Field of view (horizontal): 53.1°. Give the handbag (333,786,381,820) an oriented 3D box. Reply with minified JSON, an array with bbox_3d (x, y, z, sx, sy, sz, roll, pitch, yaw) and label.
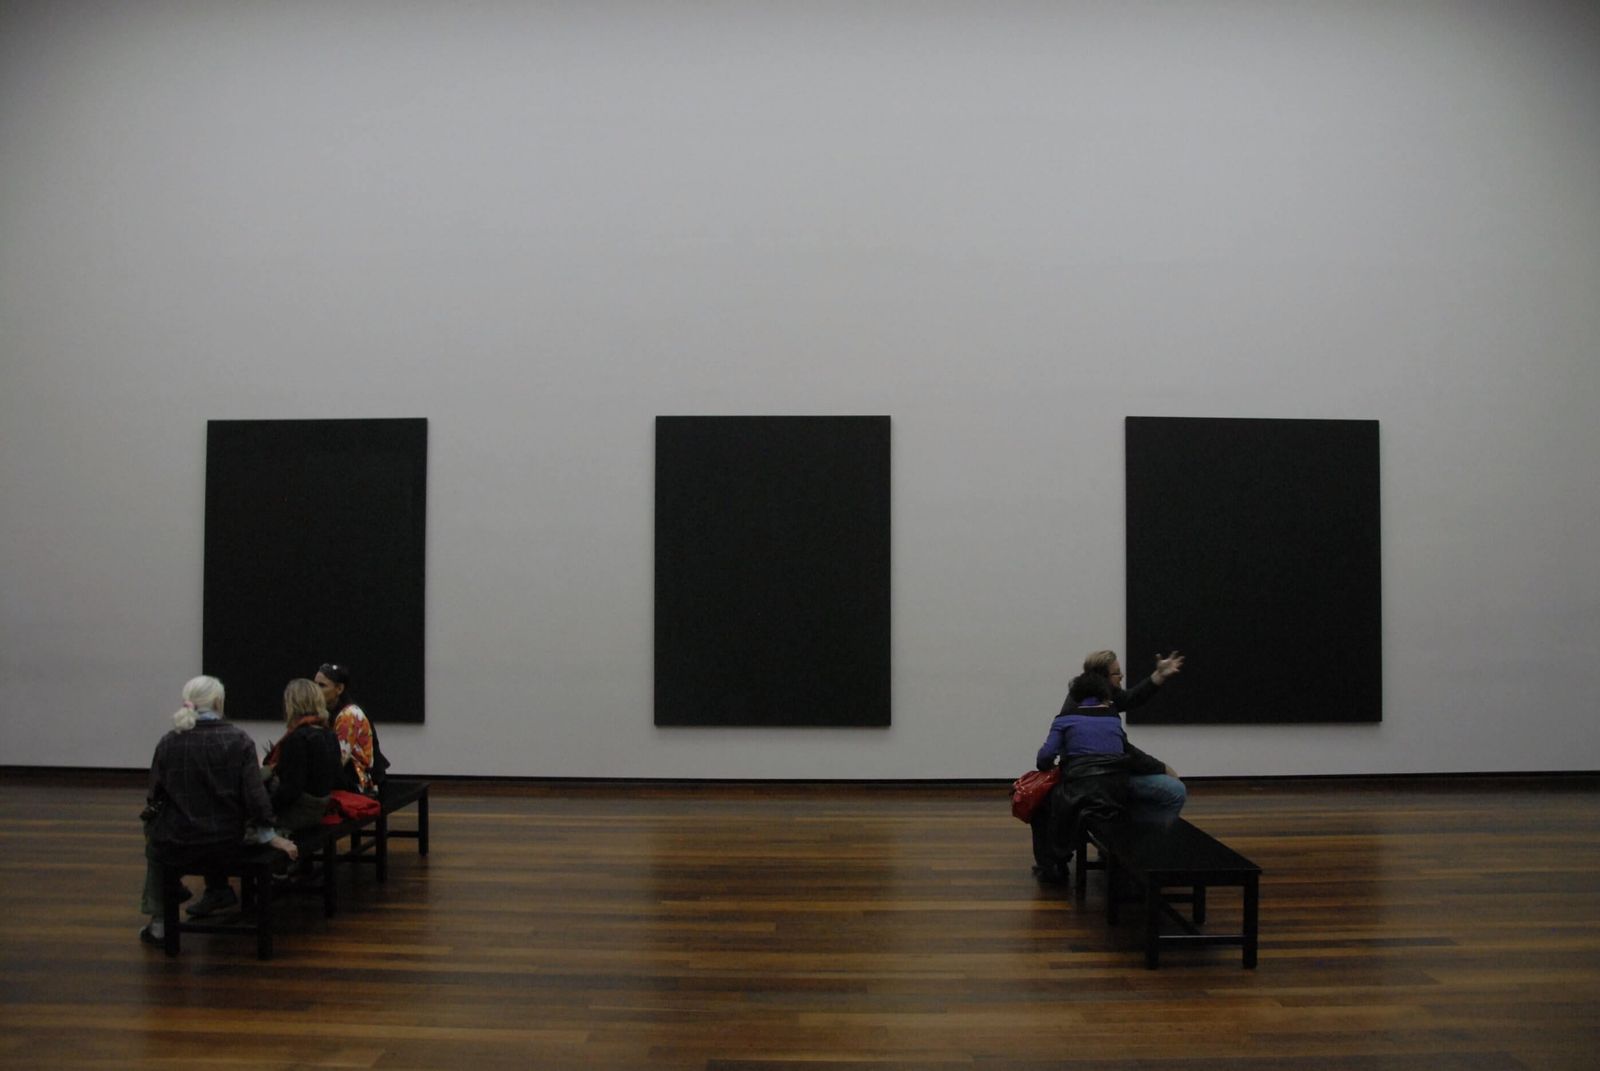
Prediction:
[{"bbox_3d":[-3.601,2.179,12.924,0.255,0.096,0.259,4,2,15],"label":"handbag"}]

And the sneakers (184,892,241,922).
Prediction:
[{"bbox_3d":[-4.688,2.930,12.628,0.518,0.225,0.190,1,2,-7],"label":"sneakers"}]

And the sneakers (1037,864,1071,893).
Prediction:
[{"bbox_3d":[2.083,2.830,13.201,0.150,0.269,0.274,3,-20,-5],"label":"sneakers"}]
